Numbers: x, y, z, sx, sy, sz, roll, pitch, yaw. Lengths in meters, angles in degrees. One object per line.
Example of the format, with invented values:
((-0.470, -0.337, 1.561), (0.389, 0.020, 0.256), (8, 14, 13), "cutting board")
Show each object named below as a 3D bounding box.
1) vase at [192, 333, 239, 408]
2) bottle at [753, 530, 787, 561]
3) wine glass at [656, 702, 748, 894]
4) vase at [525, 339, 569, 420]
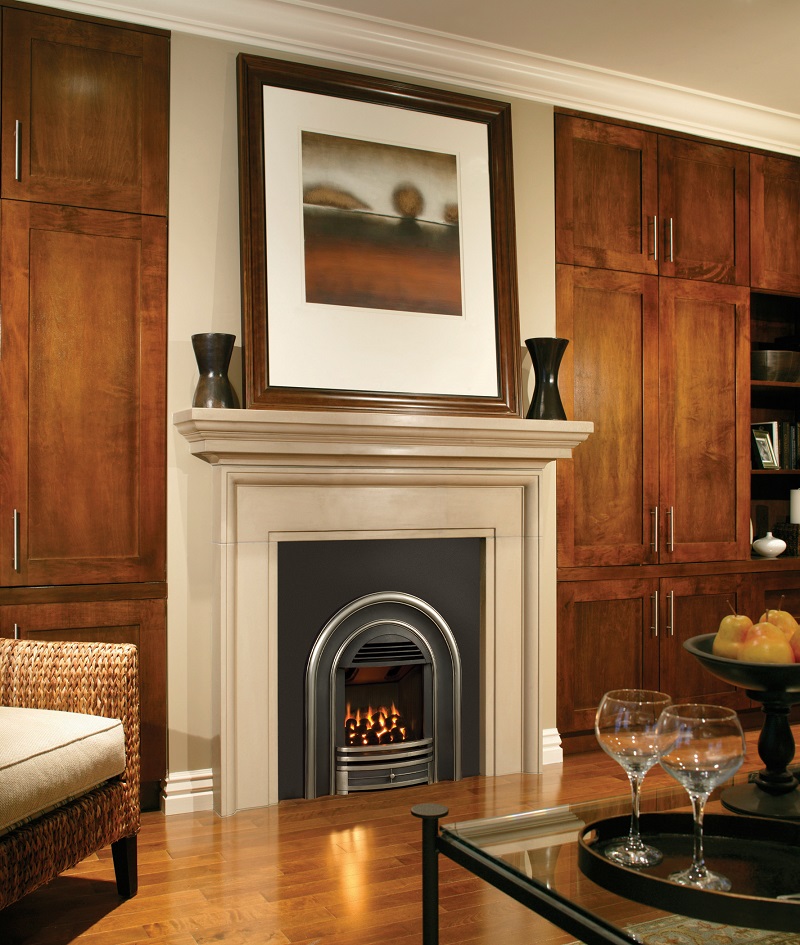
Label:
((-0.611, -0.334, 2.894), (0.147, 0.257, 0.173), (-2, -2, 7), "vase")
((1.768, 0.347, 4.266), (0.123, 0.113, 0.120), (-3, 5, -38), "bottle")
((0.456, 0.480, 1.340), (0.122, 0.251, 0.353), (-3, -2, 21), "wine glass")
((0.568, -0.375, 3.456), (0.159, 0.363, 0.270), (-2, -2, 8), "vase")
